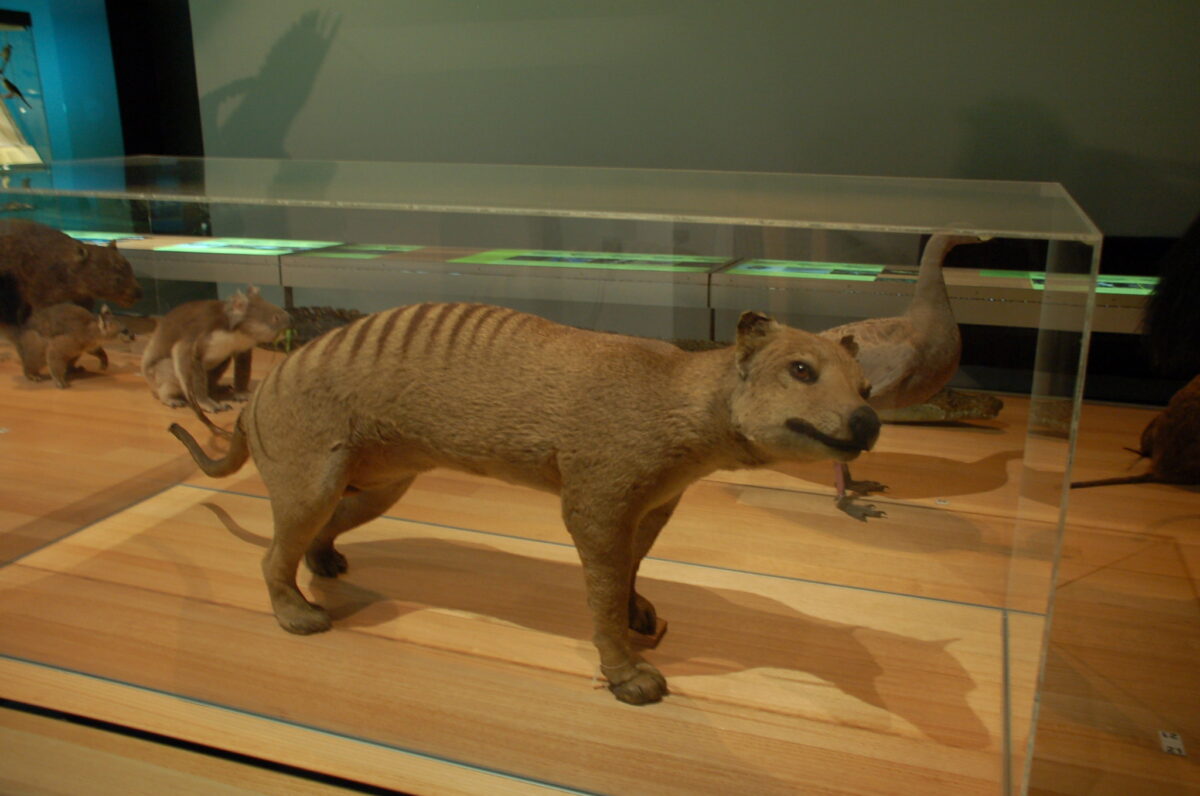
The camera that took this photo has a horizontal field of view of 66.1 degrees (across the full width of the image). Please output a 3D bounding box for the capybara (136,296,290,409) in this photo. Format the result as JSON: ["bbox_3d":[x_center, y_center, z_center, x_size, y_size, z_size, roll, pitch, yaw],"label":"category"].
[{"bbox_3d":[-1.318,-0.176,3.189,0.622,0.338,0.288,-1,8,21],"label":"capybara"}]

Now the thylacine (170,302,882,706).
[{"bbox_3d":[-0.222,0.254,2.821,2.774,1.018,0.688,6,12,37],"label":"thylacine"}]

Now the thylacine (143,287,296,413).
[{"bbox_3d":[-1.317,-0.173,3.195,0.619,0.321,0.329,0,7,28],"label":"thylacine"}]
